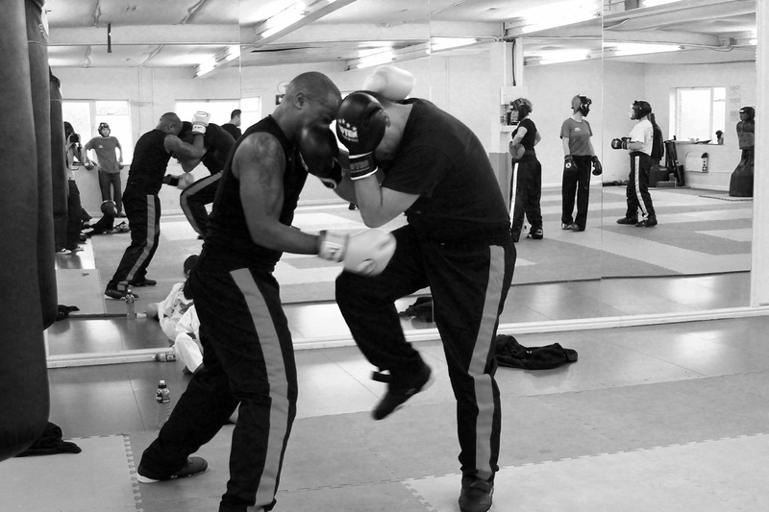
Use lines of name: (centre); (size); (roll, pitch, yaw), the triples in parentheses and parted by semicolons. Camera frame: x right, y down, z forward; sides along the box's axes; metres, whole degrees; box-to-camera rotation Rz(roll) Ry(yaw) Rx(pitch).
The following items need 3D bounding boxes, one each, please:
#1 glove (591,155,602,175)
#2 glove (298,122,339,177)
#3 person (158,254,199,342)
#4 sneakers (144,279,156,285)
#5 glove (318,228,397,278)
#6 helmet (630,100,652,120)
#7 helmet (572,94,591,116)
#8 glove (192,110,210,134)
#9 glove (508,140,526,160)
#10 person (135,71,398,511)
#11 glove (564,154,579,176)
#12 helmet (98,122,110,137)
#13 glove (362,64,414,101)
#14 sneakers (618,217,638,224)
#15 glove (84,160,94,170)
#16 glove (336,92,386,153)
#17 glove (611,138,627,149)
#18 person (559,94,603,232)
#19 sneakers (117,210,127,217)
glove: (2.426, -1.033, 6.517); (0.109, 0.221, 0.156); (4, 13, 17)
glove: (-0.244, -0.397, 2.153); (0.108, 0.190, 0.162); (2, 13, 12)
person: (-1.599, 0.332, 4.452); (0.318, 0.661, 0.267); (-18, 40, -43)
sneakers: (-2.447, 0.281, 6.022); (0.125, 0.075, 0.045); (-2, 6, -14)
glove: (-0.107, -0.009, 2.291); (0.298, 0.205, 0.199); (-1, 12, -3)
helmet: (3.303, -1.893, 7.350); (0.215, 0.254, 0.599); (5, 13, 23)
helmet: (2.239, -1.740, 6.511); (0.255, 0.205, 0.198); (-4, 13, -17)
glove: (-1.651, -1.217, 5.167); (0.159, 0.193, 0.074); (13, 12, 6)
glove: (1.588, -1.288, 6.941); (0.238, 0.197, 0.170); (1, 11, -12)
person: (-0.576, 0.231, 2.343); (1.076, 1.917, 0.654); (6, 14, 26)
glove: (2.193, -1.071, 6.694); (0.179, 0.202, 0.089); (-2, 0, 35)
helmet: (-2.368, -1.085, 4.880); (0.096, 0.100, 0.109); (-1, -26, -13)
glove: (0.012, -0.759, 2.562); (0.218, 0.160, 0.183); (-10, 31, -44)
sneakers: (3.306, -0.486, 7.796); (0.331, 0.111, 0.115); (2, -1, -22)
glove: (-2.618, -0.812, 5.106); (0.059, 0.066, 0.067); (-8, 0, 5)
glove: (-0.107, -0.517, 2.278); (0.247, 0.241, 0.203); (2, 0, -22)
glove: (2.890, -1.392, 7.031); (0.193, 0.131, 0.077); (-5, -17, -4)
person: (2.261, -1.075, 6.652); (0.489, 1.577, 0.302); (5, 14, 22)
sneakers: (-2.599, -0.424, 5.699); (0.045, 0.079, 0.122); (-1, -2, 3)
